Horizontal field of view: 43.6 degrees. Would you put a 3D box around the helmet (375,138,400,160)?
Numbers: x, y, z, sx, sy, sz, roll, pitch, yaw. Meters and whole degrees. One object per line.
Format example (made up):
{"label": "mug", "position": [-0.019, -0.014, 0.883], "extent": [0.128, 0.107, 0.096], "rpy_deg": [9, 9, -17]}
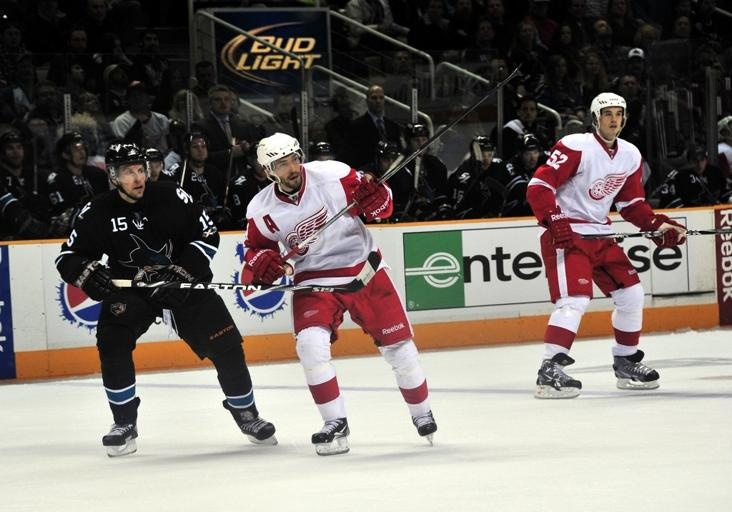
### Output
{"label": "helmet", "position": [0.211, -1.078, 9.279], "extent": [0.203, 0.209, 0.171], "rpy_deg": [44, 7, -45]}

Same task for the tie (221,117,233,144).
{"label": "tie", "position": [-1.417, -1.280, 9.361], "extent": [0.055, 0.226, 0.174], "rpy_deg": [-22, 5, 0]}

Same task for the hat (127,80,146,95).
{"label": "hat", "position": [-2.410, -1.749, 9.542], "extent": [0.175, 0.123, 0.170], "rpy_deg": [-19, 19, -29]}

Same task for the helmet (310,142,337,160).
{"label": "helmet", "position": [-0.454, -1.045, 9.163], "extent": [0.182, 0.121, 0.259], "rpy_deg": [-2, -1, -6]}

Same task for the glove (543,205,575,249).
{"label": "glove", "position": [1.502, -0.216, 7.048], "extent": [0.192, 0.276, 0.116], "rpy_deg": [-20, -10, -25]}

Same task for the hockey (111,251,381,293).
{"label": "hockey", "position": [-0.715, 0.150, 5.831], "extent": [1.624, 0.236, 0.266], "rpy_deg": [-3, 6, 1]}

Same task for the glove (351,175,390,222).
{"label": "glove", "position": [0.042, -0.360, 5.920], "extent": [0.233, 0.299, 0.138], "rpy_deg": [-38, 19, 10]}

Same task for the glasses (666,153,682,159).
{"label": "glasses", "position": [3.451, -1.114, 10.209], "extent": [0.102, 0.089, 0.033], "rpy_deg": [-3, -9, 24]}

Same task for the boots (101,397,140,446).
{"label": "boots", "position": [-1.596, 1.090, 6.002], "extent": [0.127, 0.285, 0.298], "rpy_deg": [1, 8, 43]}

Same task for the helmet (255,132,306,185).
{"label": "helmet", "position": [-0.554, -0.635, 5.921], "extent": [0.281, 0.316, 0.272], "rpy_deg": [-4, 6, -4]}

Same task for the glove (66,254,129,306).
{"label": "glove", "position": [-1.724, 0.170, 5.862], "extent": [0.365, 0.206, 0.114], "rpy_deg": [33, 9, -5]}

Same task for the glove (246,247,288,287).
{"label": "glove", "position": [-0.635, 0.074, 5.851], "extent": [0.242, 0.222, 0.173], "rpy_deg": [-5, 6, -12]}

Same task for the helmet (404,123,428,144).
{"label": "helmet", "position": [0.524, -1.282, 9.551], "extent": [0.213, 0.228, 0.240], "rpy_deg": [0, 16, 3]}

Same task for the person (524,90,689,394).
{"label": "person", "position": [1.804, -0.105, 7.206], "extent": [1.312, 2.343, 0.584], "rpy_deg": [-6, 6, -22]}

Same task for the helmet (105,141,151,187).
{"label": "helmet", "position": [-1.580, -0.609, 6.032], "extent": [0.266, 0.271, 0.199], "rpy_deg": [-5, 6, -12]}

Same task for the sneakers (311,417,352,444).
{"label": "sneakers", "position": [-0.213, 1.110, 5.823], "extent": [0.104, 0.113, 0.313], "rpy_deg": [-8, -5, 42]}

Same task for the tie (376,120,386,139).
{"label": "tie", "position": [0.162, -1.338, 9.716], "extent": [0.109, 0.183, 0.046], "rpy_deg": [-13, -5, -32]}
